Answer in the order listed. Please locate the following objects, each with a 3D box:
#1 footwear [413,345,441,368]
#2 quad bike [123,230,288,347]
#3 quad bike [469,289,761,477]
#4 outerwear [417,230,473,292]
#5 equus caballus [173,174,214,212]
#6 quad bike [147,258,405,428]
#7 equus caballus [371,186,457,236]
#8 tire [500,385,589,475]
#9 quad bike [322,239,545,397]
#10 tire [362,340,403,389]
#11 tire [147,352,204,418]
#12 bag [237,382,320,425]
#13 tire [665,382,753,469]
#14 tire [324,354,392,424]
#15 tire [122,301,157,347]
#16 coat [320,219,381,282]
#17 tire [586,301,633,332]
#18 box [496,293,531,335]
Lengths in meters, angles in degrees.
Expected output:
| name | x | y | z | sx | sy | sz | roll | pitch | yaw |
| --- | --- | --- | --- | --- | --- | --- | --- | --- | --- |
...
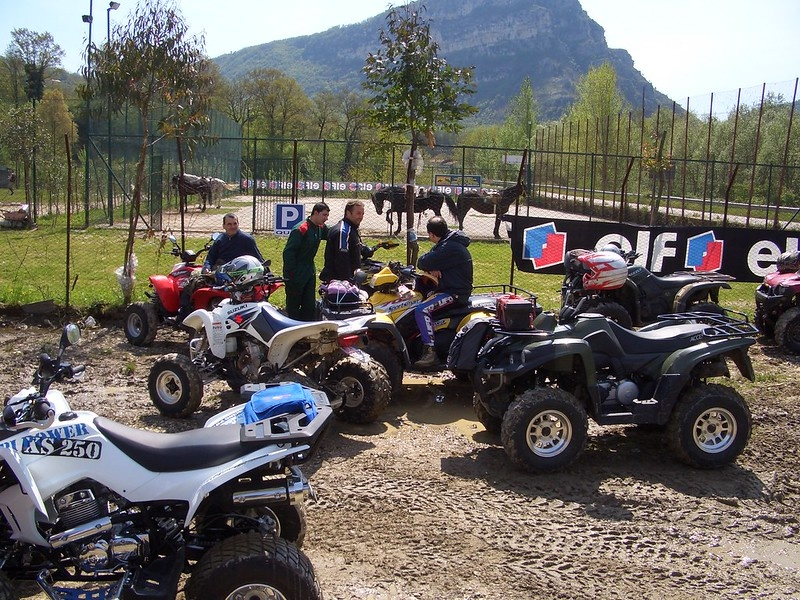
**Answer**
| name | x | y | z | sx | sy | sz | roll | pitch | yaw |
| --- | --- | --- | --- | --- | --- | --- | --- | --- | --- |
| footwear | 0.342 | 0.695 | 8.472 | 0.417 | 0.252 | 0.144 | 0 | 0 | 1 |
| quad bike | -2.906 | -0.133 | 10.621 | 2.475 | 1.424 | 1.297 | -5 | 0 | 22 |
| quad bike | 2.219 | 0.714 | 7.337 | 2.774 | 1.585 | 1.501 | -2 | 7 | -3 |
| outerwear | 0.556 | -0.501 | 8.989 | 0.725 | 0.752 | 0.667 | 1 | 7 | 1 |
| equus caballus | -8.642 | -4.535 | 28.776 | 1.993 | 1.316 | 0.532 | -4 | 13 | -45 |
| quad bike | -1.389 | 0.434 | 7.870 | 2.629 | 1.646 | 1.450 | 5 | 12 | 18 |
| equus caballus | 0.517 | -3.337 | 24.707 | 3.135 | 1.711 | 0.733 | -7 | 11 | -17 |
| tire | 1.401 | 1.259 | 6.651 | 0.847 | 0.816 | 0.267 | -1 | 5 | -9 |
| quad bike | 0.444 | 0.223 | 9.066 | 2.746 | 1.657 | 1.605 | 0 | 13 | -9 |
| tire | -0.215 | 0.742 | 8.015 | 0.621 | 0.607 | 0.207 | 0 | 5 | 26 |
| tire | -2.535 | 0.960 | 7.821 | 0.737 | 0.724 | 0.240 | -2 | 4 | 30 |
| bag | -0.766 | 0.646 | 4.430 | 0.314 | 0.092 | 0.299 | -7 | 21 | -13 |
| tire | 3.016 | 1.242 | 6.830 | 0.837 | 0.815 | 0.287 | -4 | 4 | -17 |
| tire | -0.466 | 0.989 | 7.725 | 0.678 | 0.661 | 0.253 | 7 | 10 | 35 |
| tire | -3.980 | 0.366 | 10.637 | 0.713 | 0.693 | 0.229 | -4 | 1 | 33 |
| coat | -0.763 | -0.719 | 10.482 | 0.751 | 1.041 | 0.848 | 9 | 15 | 11 |
| tire | 2.745 | 0.196 | 9.168 | 0.426 | 0.416 | 0.134 | 0 | 0 | -9 |
| box | 1.172 | 0.141 | 7.040 | 0.275 | 0.297 | 0.374 | 2 | 11 | -4 |
